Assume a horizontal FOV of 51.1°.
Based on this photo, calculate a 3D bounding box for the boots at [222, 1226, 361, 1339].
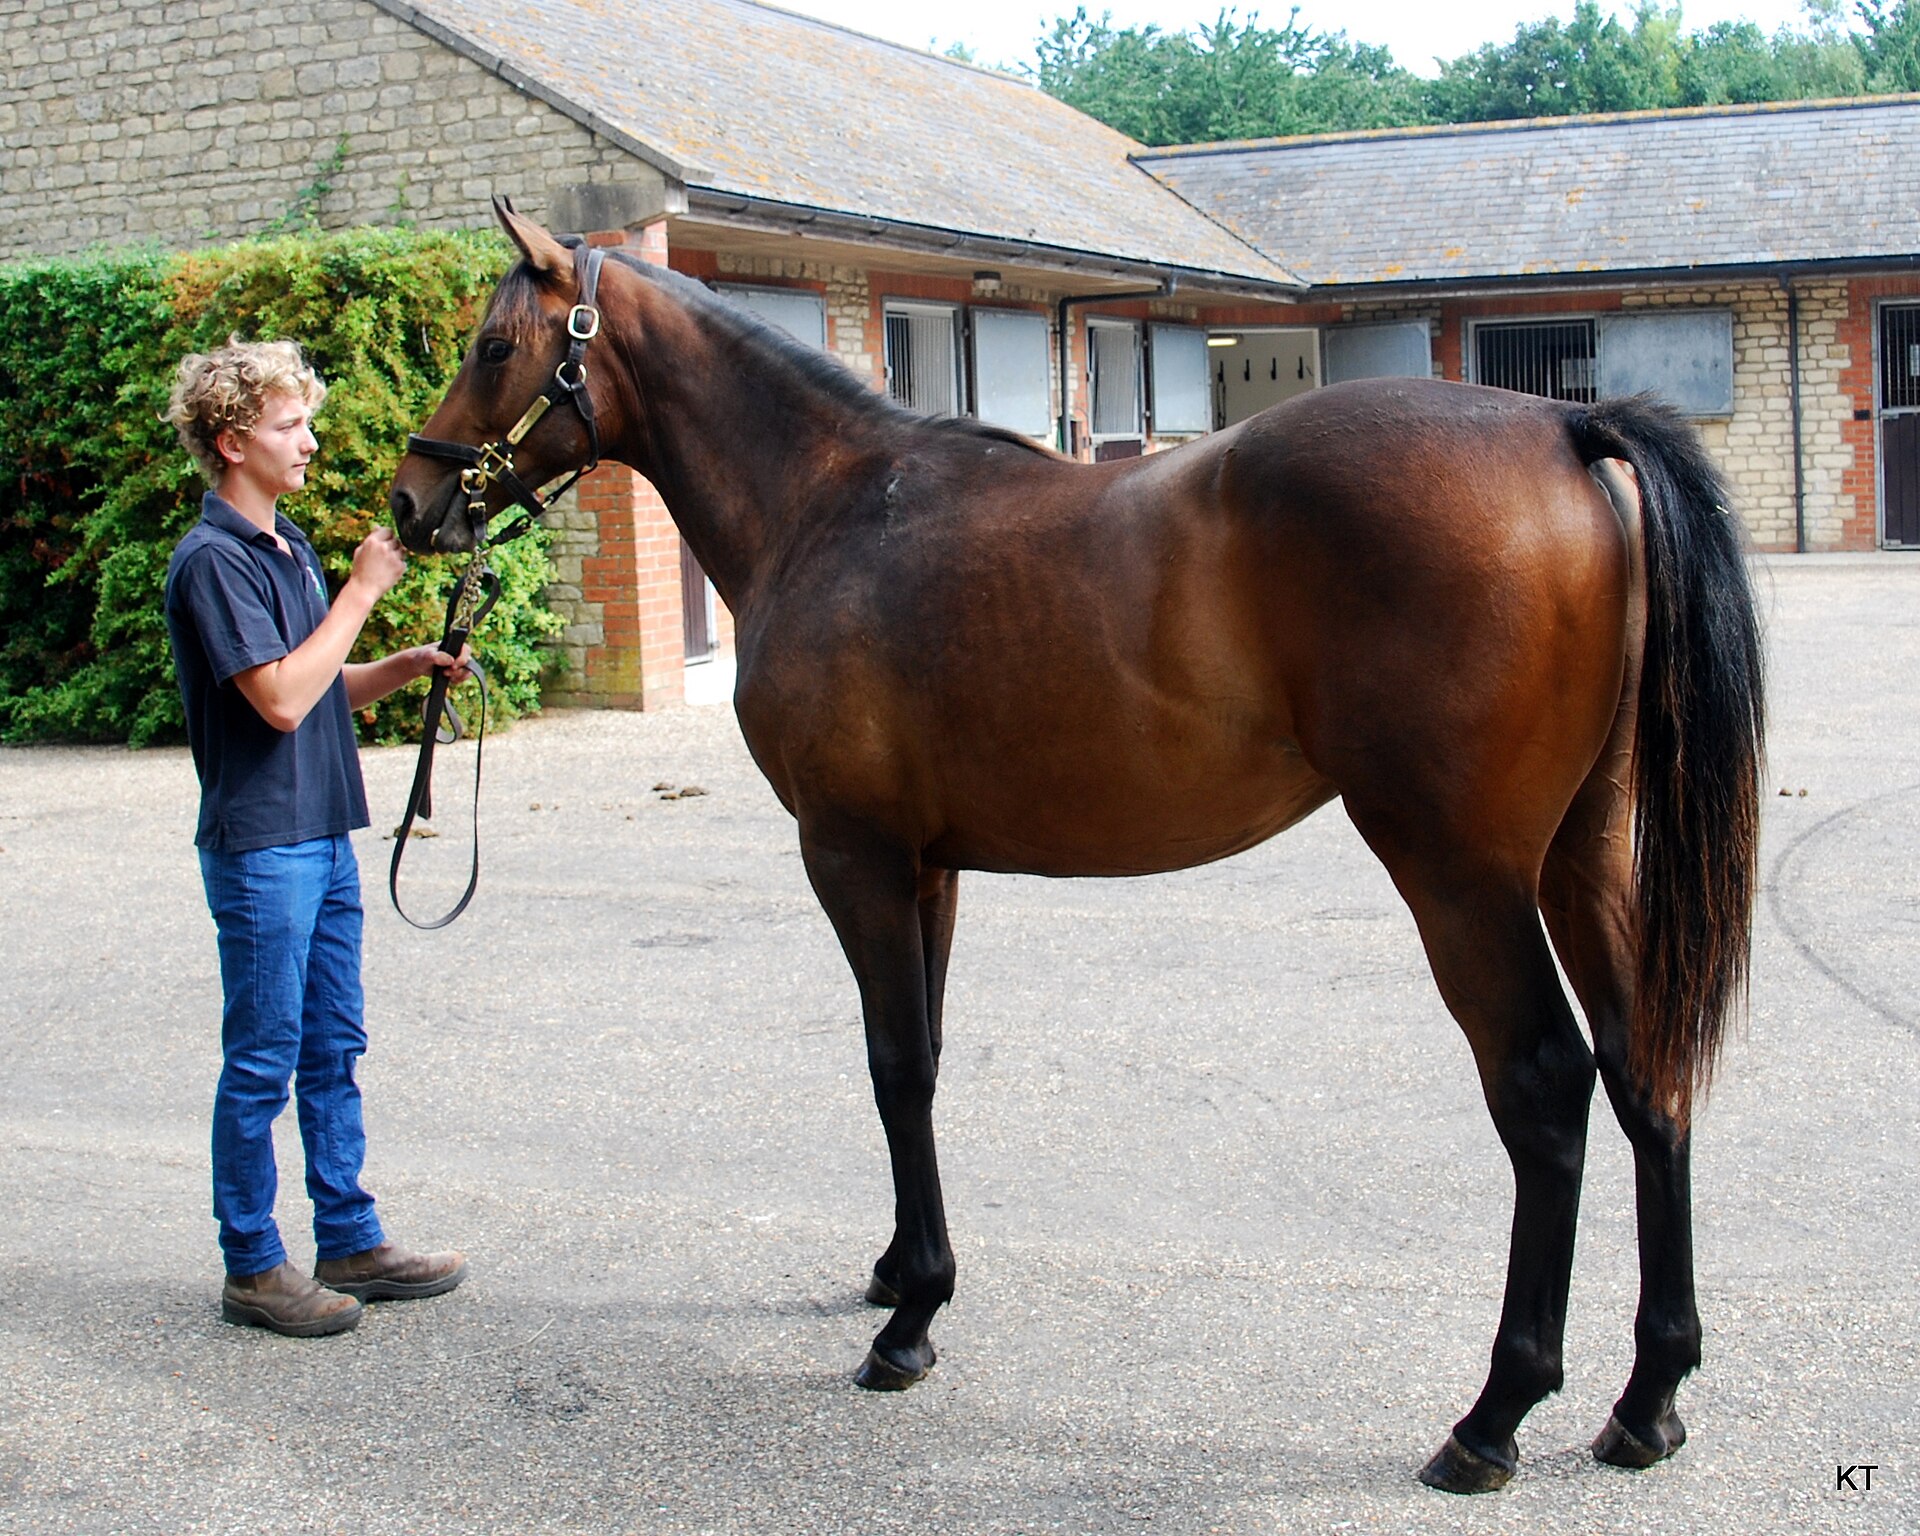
[{"bbox_3d":[-1.579,1.260,4.810,0.317,0.140,0.147,2,1,5],"label":"boots"}]

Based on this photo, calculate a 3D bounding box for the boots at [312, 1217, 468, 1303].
[{"bbox_3d":[-1.400,1.226,5.021,0.363,0.256,0.139,-1,3,-8],"label":"boots"}]

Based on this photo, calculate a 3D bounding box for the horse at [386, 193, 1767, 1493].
[{"bbox_3d":[0.135,0.136,4.720,3.282,2.497,0.864,5,9,29],"label":"horse"}]
